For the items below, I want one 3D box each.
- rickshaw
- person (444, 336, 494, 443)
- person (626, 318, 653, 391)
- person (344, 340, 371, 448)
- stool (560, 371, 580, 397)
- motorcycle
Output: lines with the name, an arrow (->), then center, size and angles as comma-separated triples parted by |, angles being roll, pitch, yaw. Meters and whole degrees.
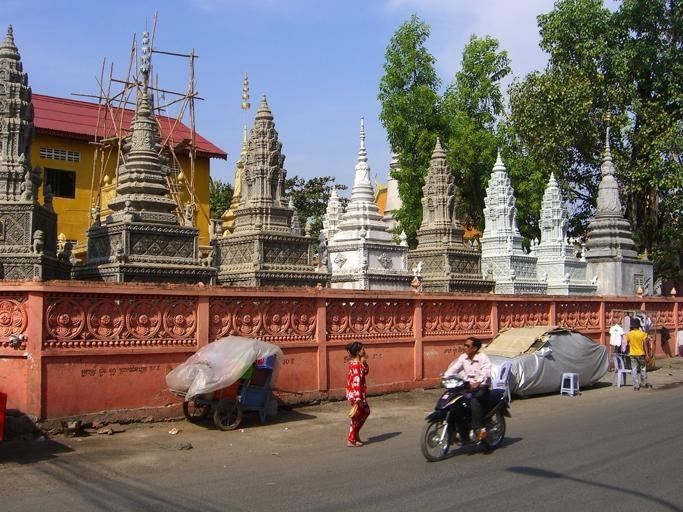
rickshaw -> -1.895, 2.474, 19.172 | 3.290, 1.819, 1.504 | 1, 5, -42
person -> 2.498, 2.501, 17.788 | 0.934, 1.890, 0.858 | 0, 3, -31
person -> 7.615, 2.490, 24.194 | 0.581, 1.730, 0.643 | -2, -4, 18
person -> 0.309, 2.598, 18.011 | 0.425, 1.934, 0.962 | 2, 10, 0
stool -> 5.523, 3.101, 22.912 | 0.473, 0.665, 0.532 | -1, -13, 8
motorcycle -> 2.180, 2.953, 17.291 | 1.831, 1.378, 0.579 | 6, -8, -44
